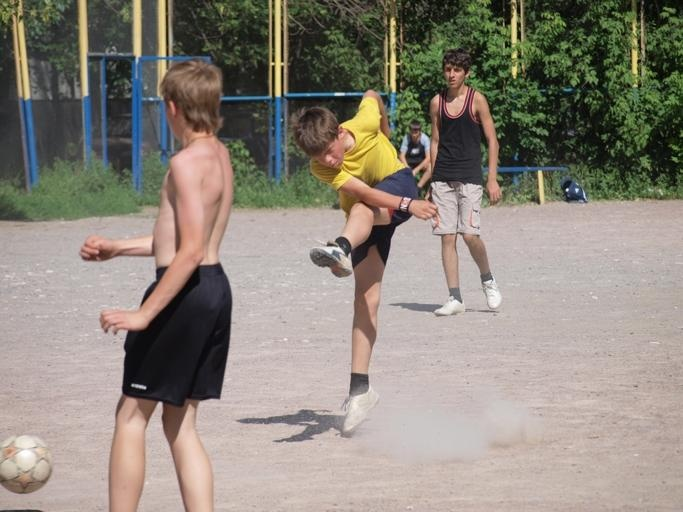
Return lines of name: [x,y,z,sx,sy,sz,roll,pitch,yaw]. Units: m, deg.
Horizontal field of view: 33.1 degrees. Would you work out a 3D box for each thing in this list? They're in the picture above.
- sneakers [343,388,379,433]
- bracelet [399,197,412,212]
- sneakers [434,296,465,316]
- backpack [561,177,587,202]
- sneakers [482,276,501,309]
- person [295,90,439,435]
sneakers: [0.133,1.185,8.720,0.274,0.326,0.237,2,11,-7]
bracelet: [0.474,-0.392,8.789,0.080,0.115,0.115,7,9,34]
sneakers: [1.107,0.532,11.768,0.398,0.173,0.136,1,3,-42]
backpack: [4.604,-1.333,23.195,0.207,0.357,0.573,-2,39,-48]
sneakers: [1.508,0.350,11.963,0.142,0.403,0.176,-24,-28,22]
person: [0.148,0.015,8.967,0.910,2.529,1.111,9,12,28]
